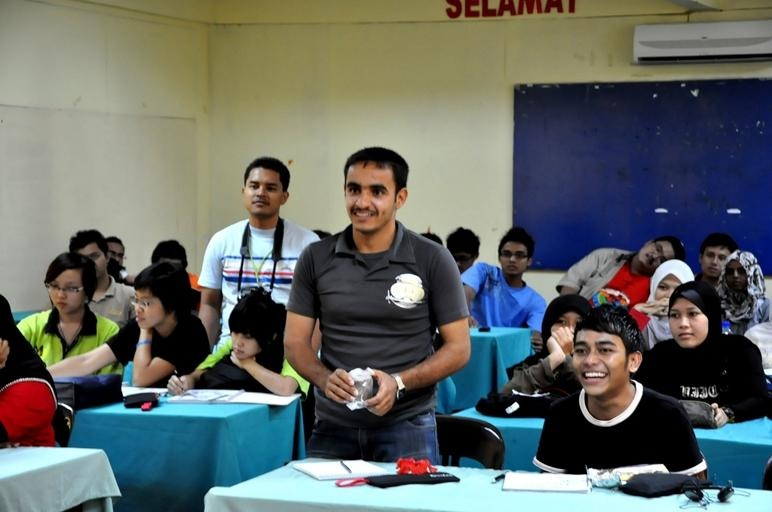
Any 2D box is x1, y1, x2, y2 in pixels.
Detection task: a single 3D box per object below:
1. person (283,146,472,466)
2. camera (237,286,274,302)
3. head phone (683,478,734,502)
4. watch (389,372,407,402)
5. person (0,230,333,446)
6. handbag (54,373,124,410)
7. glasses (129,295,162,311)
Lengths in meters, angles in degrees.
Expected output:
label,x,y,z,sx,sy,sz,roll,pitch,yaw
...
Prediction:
label,x,y,z,sx,sy,sz,roll,pitch,yaw
person,-0.034,0.209,2.770,0.757,1.314,0.454,-1,3,-8
camera,-0.749,0.205,3.870,0.115,0.072,0.160,0,-2,5
head phone,1.103,0.808,2.333,0.090,0.035,0.111,-3,-8,2
watch,0.050,0.506,2.634,0.055,0.091,0.051,-1,3,1
person,-1.451,0.638,4.342,1.364,2.130,0.917,11,-24,-40
handbag,-1.482,0.681,3.488,0.260,0.109,0.315,-2,-1,-31
glasses,-1.401,0.272,3.945,0.199,0.062,0.205,5,-3,14
